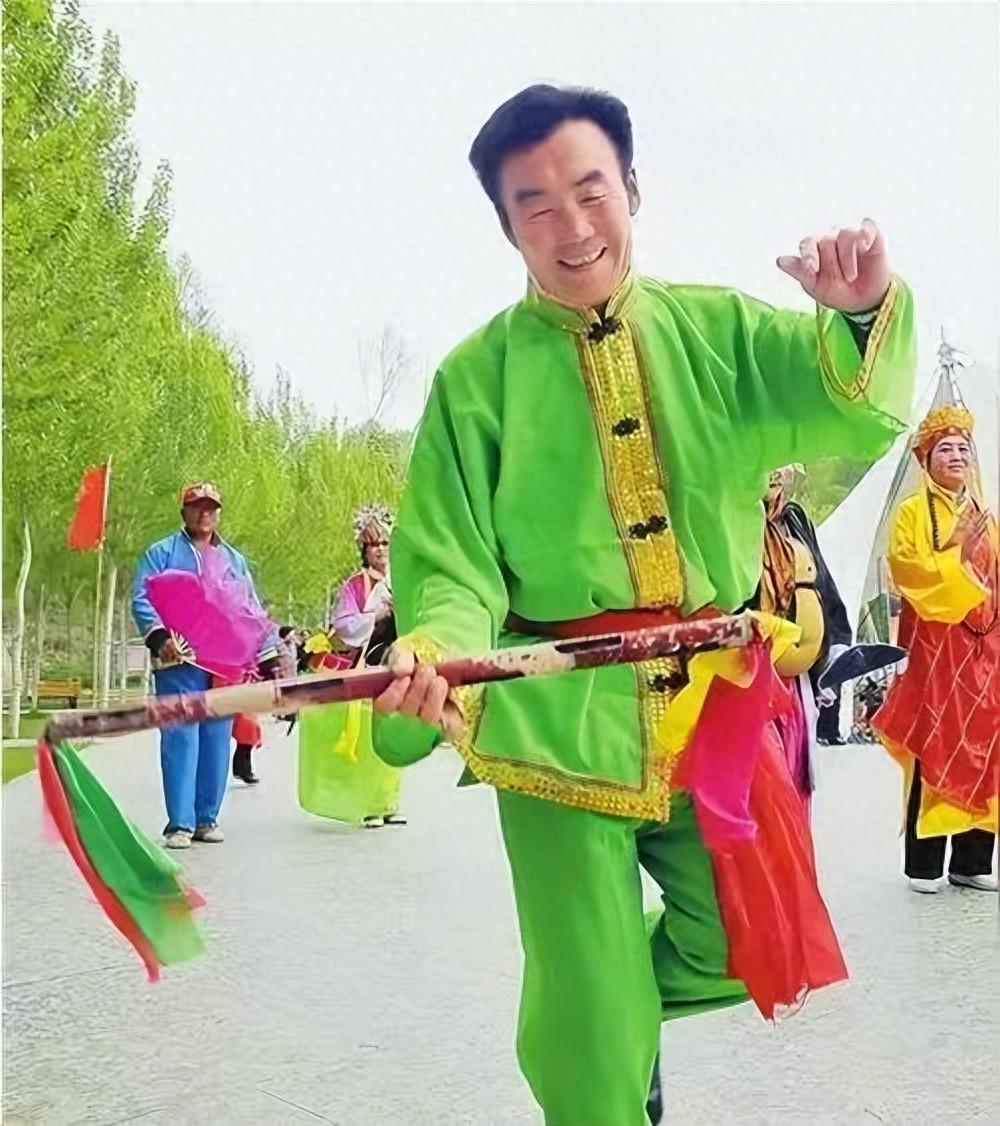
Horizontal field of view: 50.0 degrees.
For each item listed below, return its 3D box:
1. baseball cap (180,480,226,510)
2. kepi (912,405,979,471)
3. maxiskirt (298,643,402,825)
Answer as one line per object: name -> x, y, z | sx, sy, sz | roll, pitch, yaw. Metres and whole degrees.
baseball cap -> -1.934, -0.446, 6.982 | 0.218, 0.146, 0.286 | 4, -1, -13
kepi -> 2.278, -0.661, 5.568 | 0.332, 0.320, 0.125 | 4, -5, 4
maxiskirt -> -1.003, 1.315, 7.367 | 0.934, 1.442, 0.674 | -1, 13, -9
